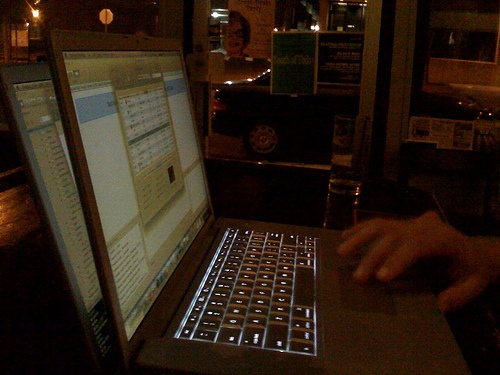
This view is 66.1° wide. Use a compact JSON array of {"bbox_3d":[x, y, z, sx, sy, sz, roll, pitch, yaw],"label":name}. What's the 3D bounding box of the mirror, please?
[{"bbox_3d":[0.169,-0.371,1.426,0.686,0.627,0.029,8,18,20],"label":"mirror"}]
